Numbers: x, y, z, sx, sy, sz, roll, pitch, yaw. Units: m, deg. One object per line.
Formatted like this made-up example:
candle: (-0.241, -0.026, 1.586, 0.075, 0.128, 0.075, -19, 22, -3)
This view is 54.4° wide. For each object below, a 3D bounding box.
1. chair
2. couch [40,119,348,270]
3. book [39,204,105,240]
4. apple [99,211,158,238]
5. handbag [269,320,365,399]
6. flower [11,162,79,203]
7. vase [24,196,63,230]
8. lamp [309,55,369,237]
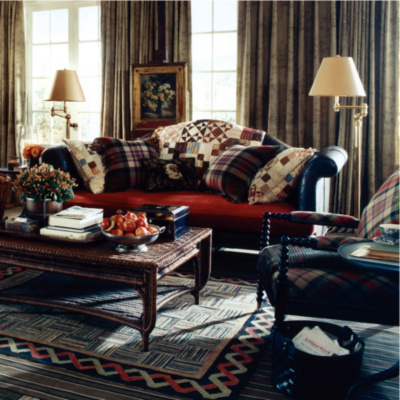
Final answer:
chair: (0.505, 0.281, 1.645, 0.472, 0.286, 0.503, 2, 3, 13)
couch: (-0.256, -0.011, 3.200, 2.681, 0.931, 0.811, 0, 15, 16)
book: (-0.630, 0.120, 2.002, 0.244, 0.074, 0.208, 2, 9, 14)
apple: (-0.342, 0.114, 1.827, 0.173, 0.058, 0.148, 1, 4, 27)
handbag: (0.400, 0.554, 1.406, 0.325, 0.162, 0.258, 2, 7, 12)
flower: (-0.845, -0.113, 2.127, 0.220, 0.106, 0.202, -8, -7, -29)
vase: (-0.867, 0.059, 2.197, 0.212, 0.125, 0.201, -4, 11, -27)
lamp: (1.148, -0.461, 3.269, 0.572, 1.334, 0.399, -3, 13, -8)
